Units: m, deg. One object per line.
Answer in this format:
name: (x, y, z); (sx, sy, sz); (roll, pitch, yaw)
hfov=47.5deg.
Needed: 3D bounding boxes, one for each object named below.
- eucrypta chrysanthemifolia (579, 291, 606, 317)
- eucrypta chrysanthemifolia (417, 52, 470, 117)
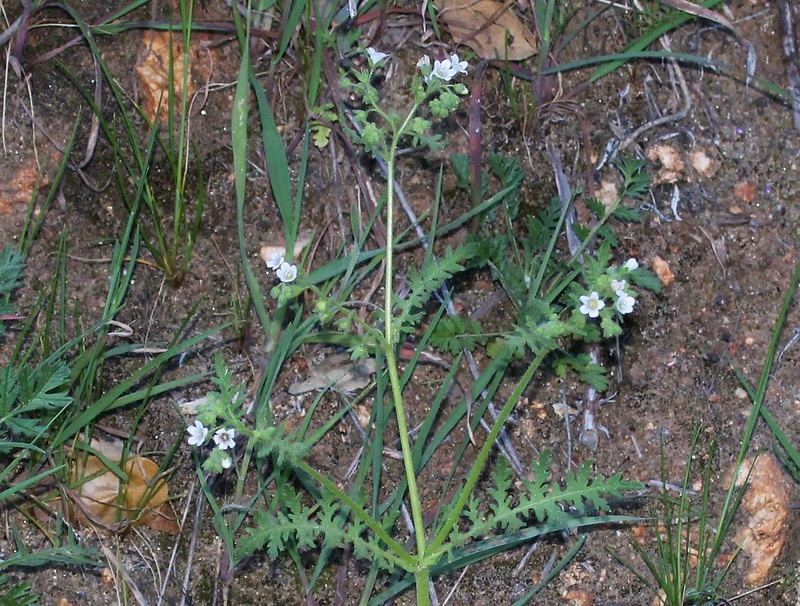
eucrypta chrysanthemifolia: (0.824, 0.003, 3.922); (0.108, 0.110, 0.096); (11, 3, 11)
eucrypta chrysanthemifolia: (0.193, -1.037, 4.235); (0.261, 0.284, 0.518); (11, 3, -1)
